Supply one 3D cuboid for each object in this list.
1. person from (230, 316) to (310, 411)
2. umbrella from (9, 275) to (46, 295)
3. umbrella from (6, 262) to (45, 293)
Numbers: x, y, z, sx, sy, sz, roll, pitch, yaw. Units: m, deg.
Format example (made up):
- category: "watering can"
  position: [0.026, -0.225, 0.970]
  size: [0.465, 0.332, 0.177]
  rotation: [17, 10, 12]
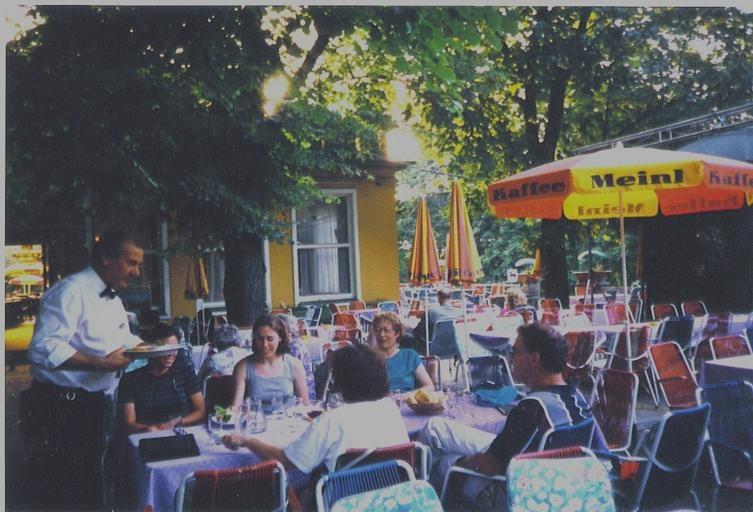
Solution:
- category: "person"
  position: [-1.064, 1.039, 7.924]
  size: [0.784, 1.343, 0.792]
  rotation: [1, 0, -9]
- category: "umbrella"
  position: [-3.614, 0.294, 8.071]
  size: [0.223, 0.159, 0.230]
  rotation: [2, 1, 40]
- category: "umbrella"
  position: [-3.634, 0.213, 8.070]
  size: [0.298, 0.282, 0.303]
  rotation: [1, 2, 1]
